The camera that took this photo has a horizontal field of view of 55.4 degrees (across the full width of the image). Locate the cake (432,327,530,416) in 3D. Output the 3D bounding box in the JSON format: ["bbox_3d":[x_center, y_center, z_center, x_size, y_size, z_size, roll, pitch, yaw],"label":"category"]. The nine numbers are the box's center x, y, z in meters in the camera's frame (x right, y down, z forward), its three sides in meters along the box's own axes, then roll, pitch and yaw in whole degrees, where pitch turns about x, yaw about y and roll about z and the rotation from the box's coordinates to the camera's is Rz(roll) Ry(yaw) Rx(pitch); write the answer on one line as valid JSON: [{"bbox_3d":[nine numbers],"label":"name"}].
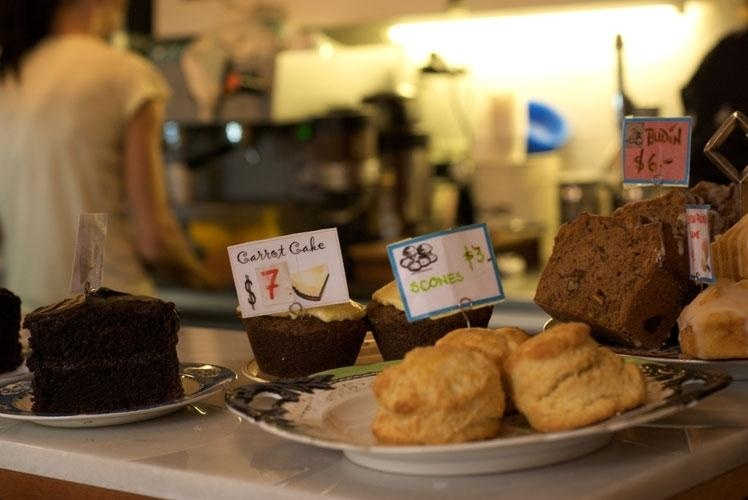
[{"bbox_3d":[0.184,0.195,1.233,0.161,0.085,0.149,-1,1,-31],"label":"cake"}]

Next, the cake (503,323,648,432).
[{"bbox_3d":[0.313,0.215,1.159,0.201,0.114,0.178,-16,1,-11],"label":"cake"}]

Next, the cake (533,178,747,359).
[{"bbox_3d":[0.502,0.033,1.442,0.397,0.283,0.133,-16,-37,33],"label":"cake"}]

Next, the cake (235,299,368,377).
[{"bbox_3d":[-0.144,0.157,1.471,0.192,0.084,0.182,-4,1,-27],"label":"cake"}]

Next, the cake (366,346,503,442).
[{"bbox_3d":[0.098,0.199,1.086,0.172,0.091,0.162,-4,0,-17],"label":"cake"}]
